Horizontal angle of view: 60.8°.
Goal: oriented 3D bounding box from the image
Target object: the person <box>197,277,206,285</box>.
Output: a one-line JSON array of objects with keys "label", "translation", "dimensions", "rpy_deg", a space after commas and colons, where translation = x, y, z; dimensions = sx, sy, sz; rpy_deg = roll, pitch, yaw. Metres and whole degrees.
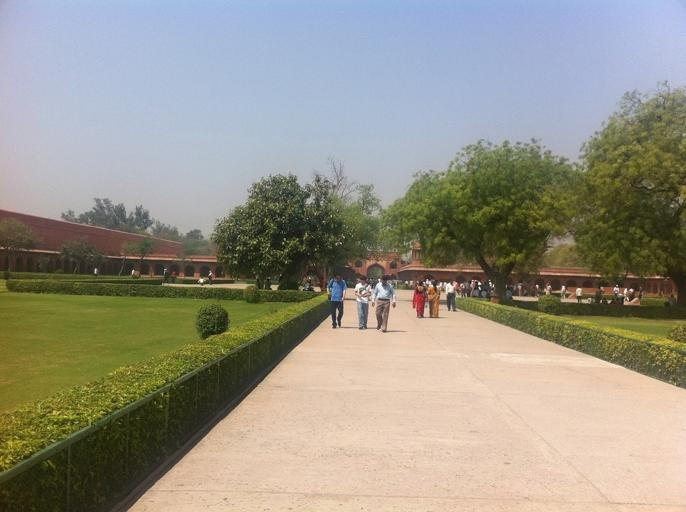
[{"label": "person", "translation": [-15.111, 2.616, 62.439], "dimensions": [0.594, 1.020, 0.722], "rpy_deg": [-1, 0, -1]}]

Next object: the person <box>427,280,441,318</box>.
[{"label": "person", "translation": [3.734, 1.735, 23.979], "dimensions": [0.418, 1.472, 1.427], "rpy_deg": [2, -1, 10]}]
